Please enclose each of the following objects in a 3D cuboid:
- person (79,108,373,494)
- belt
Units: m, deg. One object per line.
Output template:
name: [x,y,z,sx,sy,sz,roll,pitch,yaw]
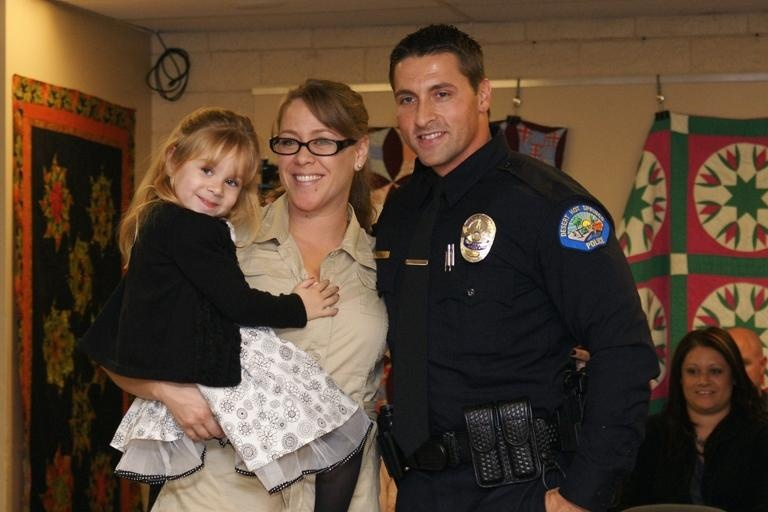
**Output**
person: [-0.694,0.169,3.607,1.177,1.705,0.405,2,-6,-17]
belt: [0.388,0.812,3.501,0.708,0.222,0.107,-1,-6,15]
